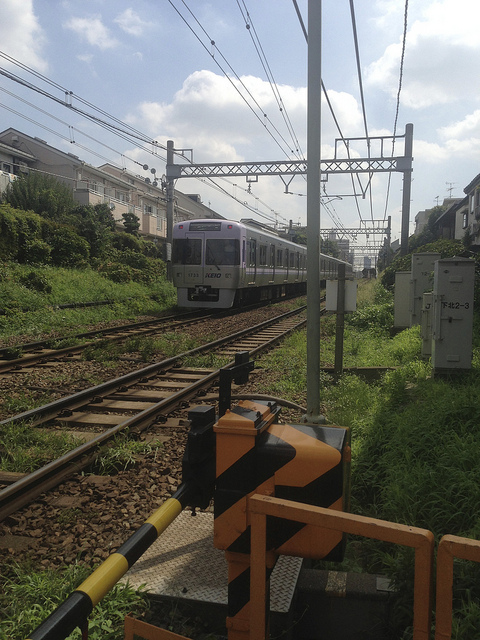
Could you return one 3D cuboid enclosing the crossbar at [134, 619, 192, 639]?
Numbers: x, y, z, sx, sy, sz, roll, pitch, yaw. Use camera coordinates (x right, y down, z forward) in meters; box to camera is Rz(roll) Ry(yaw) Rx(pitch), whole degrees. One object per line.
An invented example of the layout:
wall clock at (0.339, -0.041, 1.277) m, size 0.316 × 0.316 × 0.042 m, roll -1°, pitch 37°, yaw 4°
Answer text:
crossbar at (-0.265, 0.940, 1.513) m, size 0.096 × 0.023 × 0.093 m, roll 1°, pitch -21°, yaw 23°
